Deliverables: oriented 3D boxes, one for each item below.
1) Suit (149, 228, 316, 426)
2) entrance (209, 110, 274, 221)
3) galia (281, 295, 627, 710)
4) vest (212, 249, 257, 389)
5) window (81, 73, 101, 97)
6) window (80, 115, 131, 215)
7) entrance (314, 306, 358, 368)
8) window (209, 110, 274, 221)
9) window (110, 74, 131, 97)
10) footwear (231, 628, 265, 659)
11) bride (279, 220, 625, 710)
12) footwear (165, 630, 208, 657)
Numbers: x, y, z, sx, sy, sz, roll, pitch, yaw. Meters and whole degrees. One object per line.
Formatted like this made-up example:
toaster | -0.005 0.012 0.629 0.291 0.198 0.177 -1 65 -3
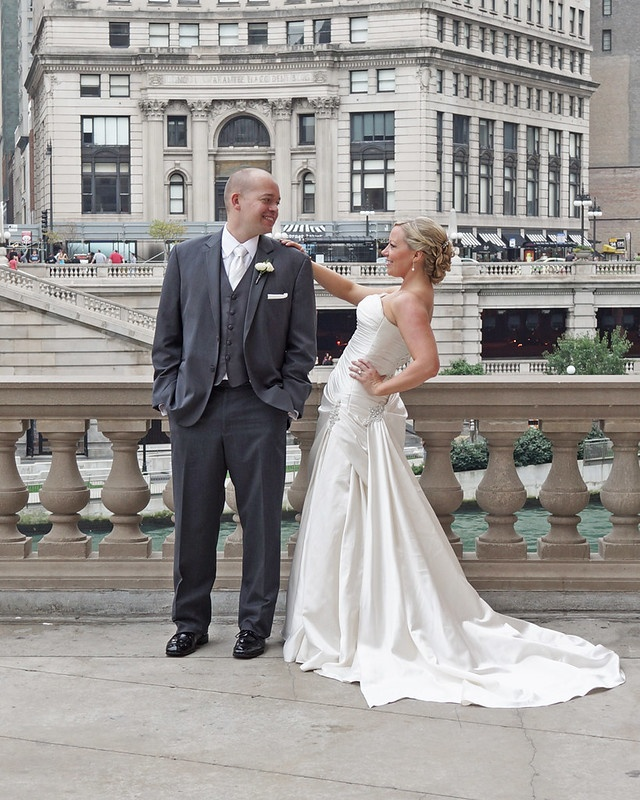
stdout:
Suit | -0.417 -0.336 8.878 0.930 1.292 0.628 1 -1 -8
entrance | -2.752 -8.076 65.299 2.294 5.390 0.407 -1 -21 -2
galia | 0.643 0.383 8.870 1.598 2.033 1.413 9 4 19
vest | -0.421 -0.375 8.821 0.168 0.577 0.158 0 5 1
window | -8.305 -11.489 65.808 0.770 0.958 0.115 0 -3 -10
window | -7.813 -8.595 66.194 1.814 3.921 0.411 -1 30 -8
entrance | 0.204 -2.057 57.197 1.658 1.673 0.977 2 3 -41
window | -2.768 -8.133 65.225 2.278 5.408 0.501 -1 -20 -1
window | -7.236 -11.418 65.570 0.742 0.926 0.086 0 2 -8
footwear | -0.341 1.165 8.791 0.187 0.118 0.153 -1 6 -16
bride | 0.948 0.544 8.820 2.146 2.805 1.579 2 -9 -4
footwear | -0.655 1.161 8.821 0.109 0.098 0.322 2 6 17
